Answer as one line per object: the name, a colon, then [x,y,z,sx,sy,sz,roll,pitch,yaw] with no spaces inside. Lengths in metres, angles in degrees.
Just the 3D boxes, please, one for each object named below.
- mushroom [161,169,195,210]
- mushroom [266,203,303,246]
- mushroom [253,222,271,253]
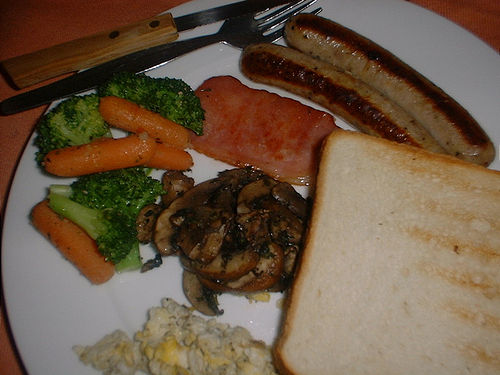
mushroom: [-0.660,-0.017,4.208,0.343,0.118,0.251,-40,81,-9]
mushroom: [0.275,0.307,3.988,0.248,0.096,0.340,-6,74,-12]
mushroom: [0.108,0.410,3.897,0.130,0.081,0.215,37,79,7]
